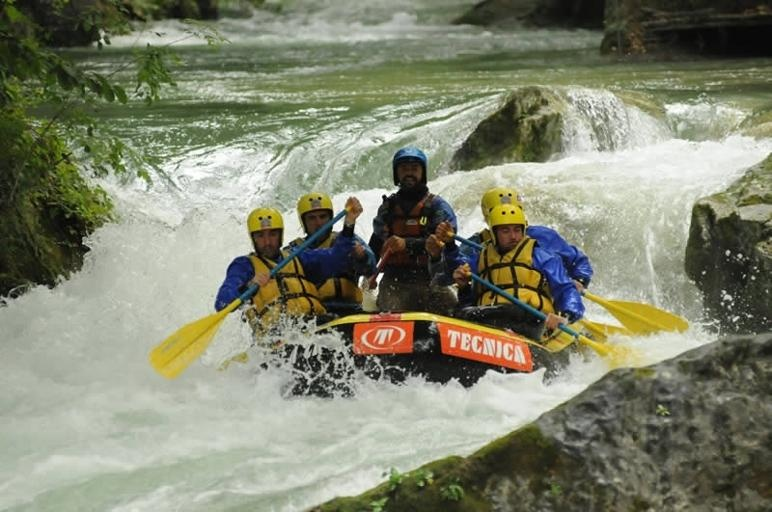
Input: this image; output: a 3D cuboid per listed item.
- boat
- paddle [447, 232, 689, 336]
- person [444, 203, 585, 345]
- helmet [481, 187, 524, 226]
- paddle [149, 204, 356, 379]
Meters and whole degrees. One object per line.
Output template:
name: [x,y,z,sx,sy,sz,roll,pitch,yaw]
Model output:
boat: [0.327,1.214,10.781,2.567,1.513,0.613,-2,77,-4]
paddle: [2.465,0.413,12.074,3.793,0.700,0.184,19,17,22]
person: [1.666,0.292,11.574,1.283,0.843,1.532,-22,42,29]
helmet: [1.545,-0.708,11.990,0.404,0.561,0.505,0,41,-4]
paddle: [-1.758,0.539,11.767,3.290,0.239,0.471,-40,81,-11]
